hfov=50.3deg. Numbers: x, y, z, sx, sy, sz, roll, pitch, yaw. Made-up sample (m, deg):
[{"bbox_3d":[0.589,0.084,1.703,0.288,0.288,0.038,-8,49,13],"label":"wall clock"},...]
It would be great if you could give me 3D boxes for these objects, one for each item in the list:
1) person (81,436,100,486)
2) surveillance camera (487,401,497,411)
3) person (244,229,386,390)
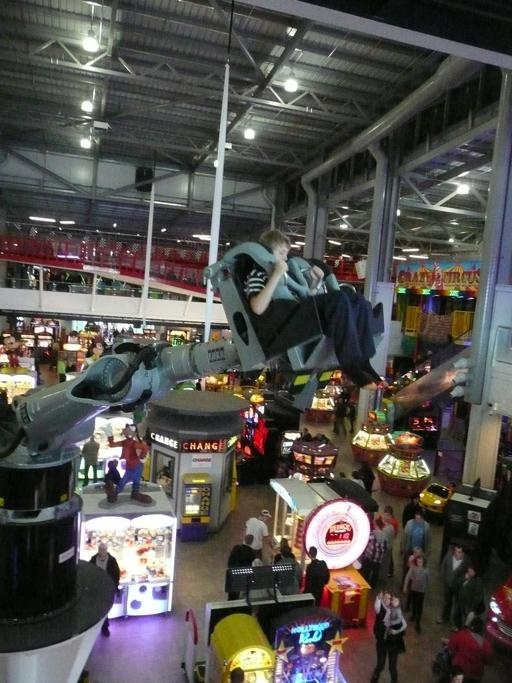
[{"bbox_3d":[-3.537,2.564,11.713,0.349,1.132,0.953,0,7,-17],"label":"person"},{"bbox_3d":[4.913,1.367,11.319,0.147,0.118,0.235,5,2,-7],"label":"surveillance camera"},{"bbox_3d":[0.269,-0.178,2.505,0.435,0.687,0.683,-2,8,-34],"label":"person"}]
